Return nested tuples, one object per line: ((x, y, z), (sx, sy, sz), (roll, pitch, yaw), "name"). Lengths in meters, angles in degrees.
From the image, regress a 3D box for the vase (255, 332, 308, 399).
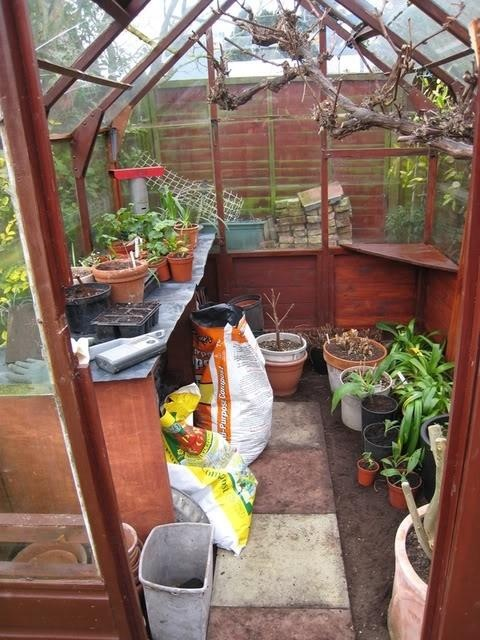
((0.293, 0.327, 3.538), (0.470, 0.377, 0.448), (-3, 14, -9), "vase")

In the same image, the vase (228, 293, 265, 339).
((0.102, -0.075, 3.888), (0.333, 0.323, 0.316), (-11, 25, -21), "vase")
